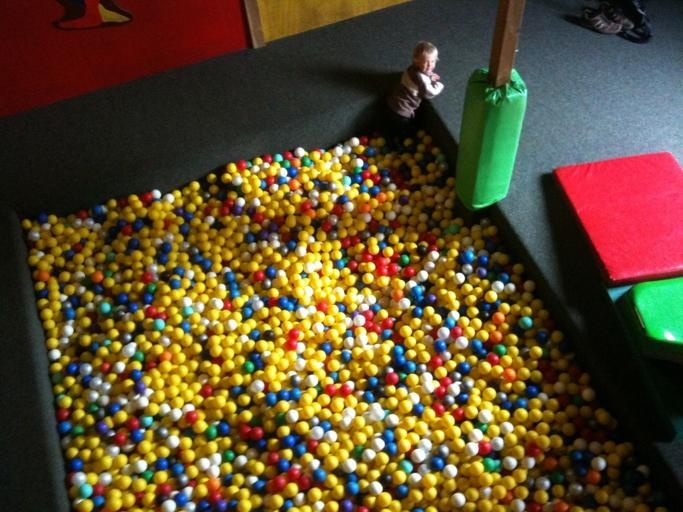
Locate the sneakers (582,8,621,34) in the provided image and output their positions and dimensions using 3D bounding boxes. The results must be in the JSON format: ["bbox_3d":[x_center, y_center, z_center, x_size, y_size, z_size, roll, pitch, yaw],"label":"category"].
[{"bbox_3d":[1.517,-1.385,3.701,0.254,0.103,0.103,26,97,29],"label":"sneakers"}]
